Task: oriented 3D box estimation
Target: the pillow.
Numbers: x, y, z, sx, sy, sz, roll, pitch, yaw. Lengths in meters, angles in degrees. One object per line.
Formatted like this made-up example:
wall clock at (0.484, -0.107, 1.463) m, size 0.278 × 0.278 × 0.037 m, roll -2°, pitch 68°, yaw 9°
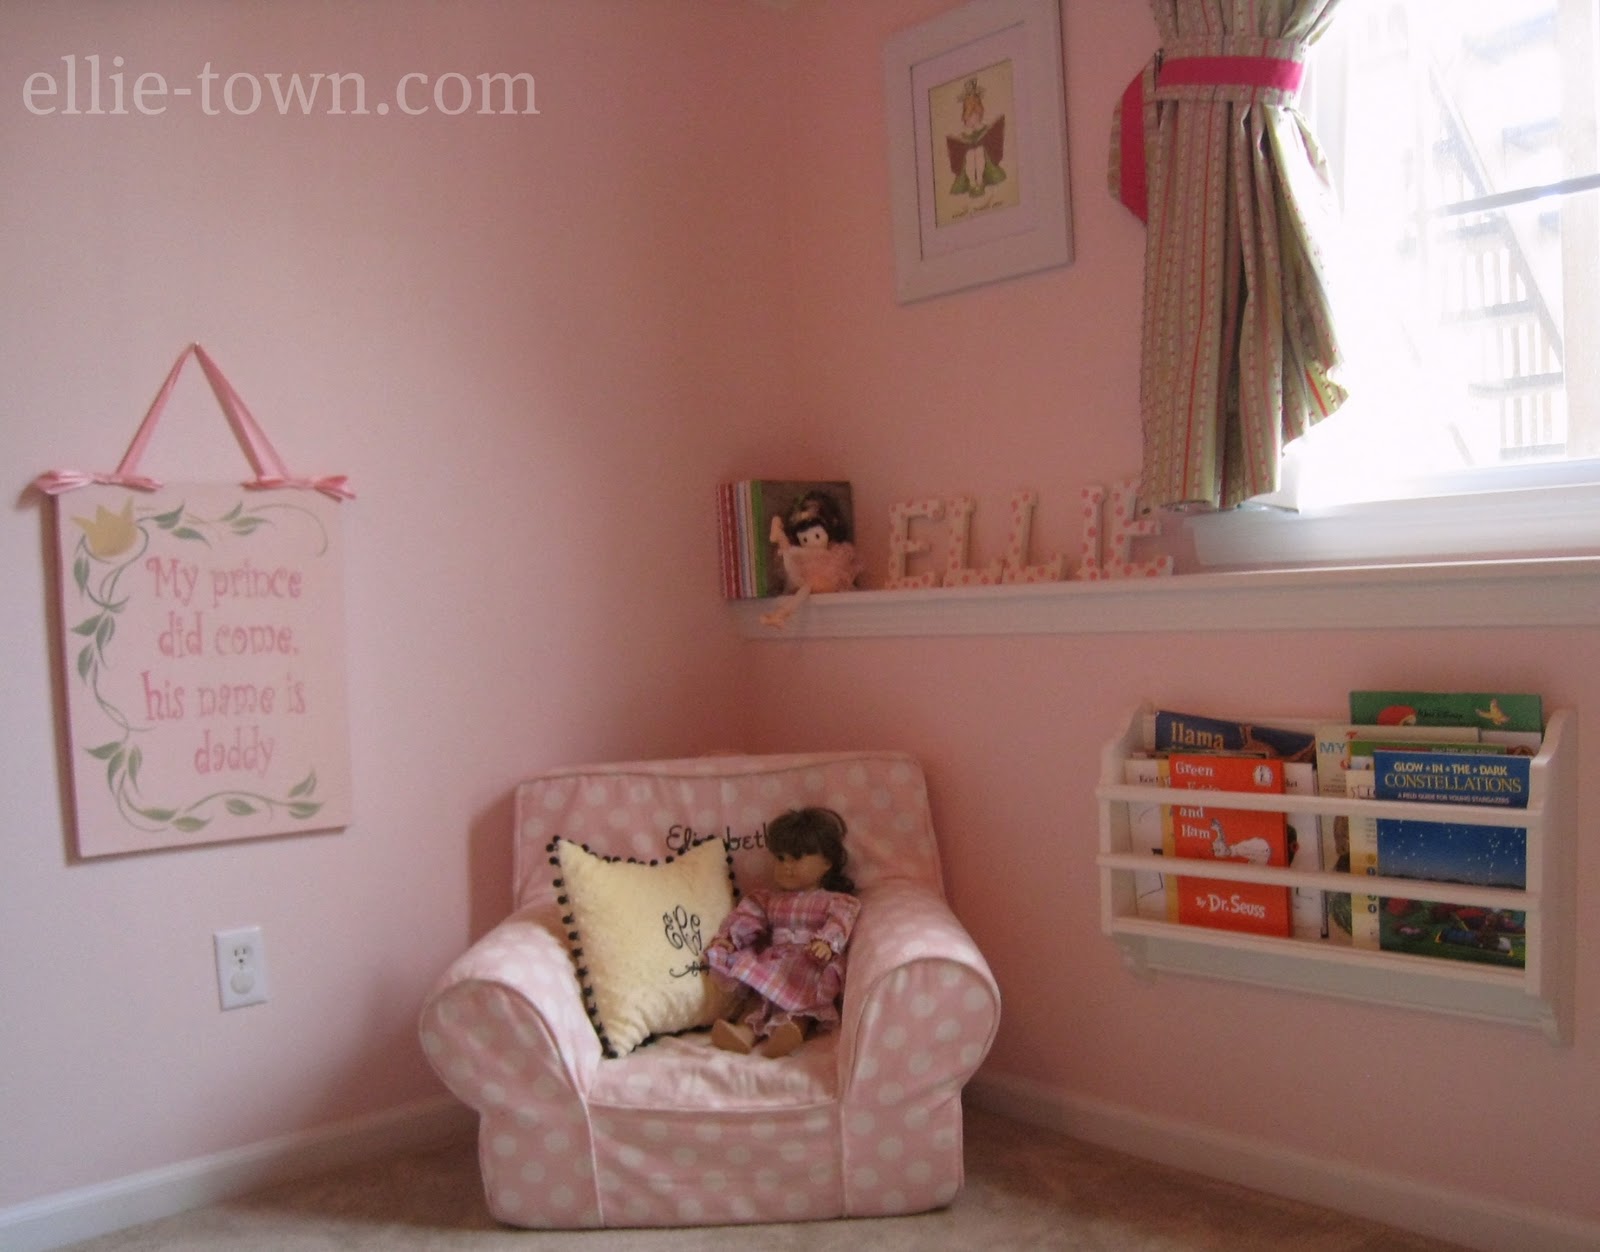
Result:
pillow at (-0.318, 0.612, 2.515) m, size 0.370 × 0.390 × 0.111 m, roll -6°, pitch -17°, yaw -44°

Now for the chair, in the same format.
chair at (-0.150, 0.770, 2.506) m, size 1.061 × 0.824 × 0.819 m, roll -2°, pitch 8°, yaw -1°

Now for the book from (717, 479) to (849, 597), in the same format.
book at (-0.032, -0.215, 3.071) m, size 0.249 × 0.237 × 0.087 m, roll -3°, pitch 5°, yaw 3°
